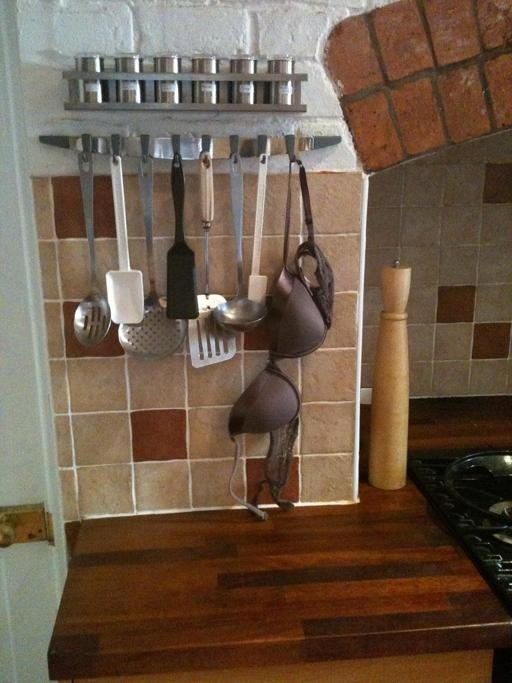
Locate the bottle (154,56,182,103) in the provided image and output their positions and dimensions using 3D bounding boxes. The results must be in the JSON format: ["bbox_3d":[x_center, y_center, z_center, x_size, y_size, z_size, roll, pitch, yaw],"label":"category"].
[{"bbox_3d":[-0.128,-0.383,0.957,0.040,0.070,0.031,-6,12,-19],"label":"bottle"}]

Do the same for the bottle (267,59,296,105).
[{"bbox_3d":[0.041,-0.392,0.984,0.039,0.069,0.034,-4,12,-8],"label":"bottle"}]
